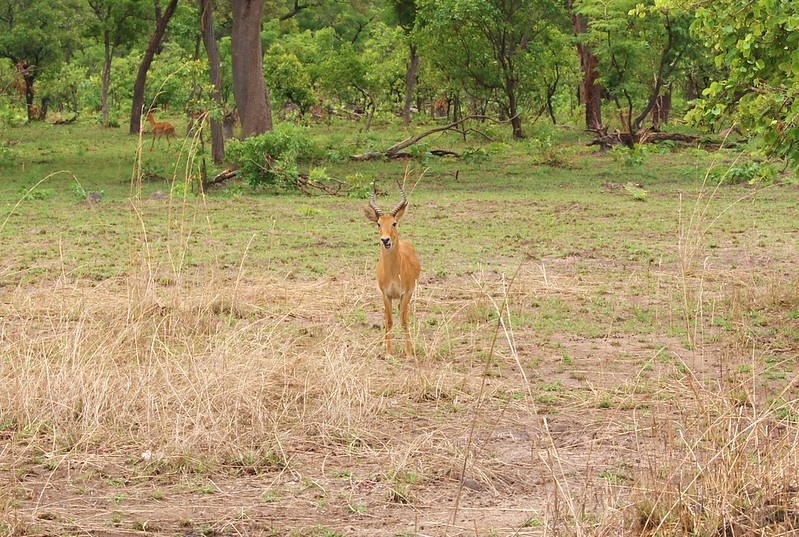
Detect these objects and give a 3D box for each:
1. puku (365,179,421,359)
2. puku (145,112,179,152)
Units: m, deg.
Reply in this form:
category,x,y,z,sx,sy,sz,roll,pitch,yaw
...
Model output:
category,x,y,z,sx,sy,sz,roll,pitch,yaw
puku,-0.078,0.119,17.005,0.824,2.634,2.782,-3,-2,2
puku,-7.585,-4.236,33.419,0.336,1.002,1.415,12,8,29
